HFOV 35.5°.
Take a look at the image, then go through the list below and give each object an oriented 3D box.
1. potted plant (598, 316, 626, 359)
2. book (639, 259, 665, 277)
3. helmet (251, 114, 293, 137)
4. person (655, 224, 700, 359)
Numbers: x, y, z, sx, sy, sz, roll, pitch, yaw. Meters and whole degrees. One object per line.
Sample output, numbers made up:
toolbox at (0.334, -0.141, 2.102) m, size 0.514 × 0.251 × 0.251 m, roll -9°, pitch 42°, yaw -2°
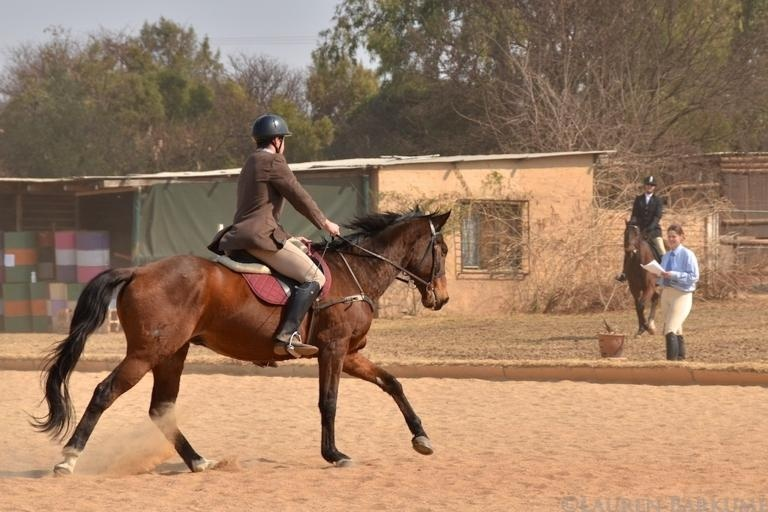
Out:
potted plant at (5.469, 1.966, 28.737) m, size 0.752 × 0.876 × 0.764 m, roll -3°, pitch 0°, yaw -7°
book at (6.510, 0.292, 29.096) m, size 0.348 × 0.125 × 0.354 m, roll 31°, pitch -16°, yaw -16°
helmet at (-2.269, -2.588, 23.873) m, size 0.616 × 0.278 × 0.467 m, roll -7°, pitch 8°, yaw -27°
person at (6.832, 0.865, 27.706) m, size 0.853 × 3.161 × 1.171 m, roll -3°, pitch 3°, yaw 13°
